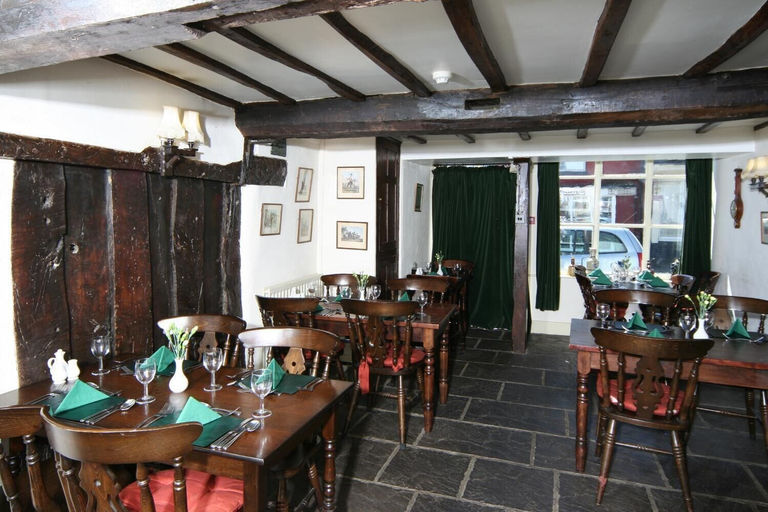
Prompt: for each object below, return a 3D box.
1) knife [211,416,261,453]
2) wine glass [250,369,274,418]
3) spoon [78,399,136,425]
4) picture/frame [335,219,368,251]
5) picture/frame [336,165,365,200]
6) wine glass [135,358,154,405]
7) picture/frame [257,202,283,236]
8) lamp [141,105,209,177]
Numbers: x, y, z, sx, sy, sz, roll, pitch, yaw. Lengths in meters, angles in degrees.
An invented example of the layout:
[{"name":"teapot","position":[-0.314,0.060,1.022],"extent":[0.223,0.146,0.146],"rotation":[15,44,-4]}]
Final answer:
[{"name":"knife","position":[-0.833,0.990,2.888],"extent":[0.089,0.029,0.285],"rotation":[9,11,14]},{"name":"wine glass","position":[-0.744,0.809,3.181],"extent":[0.122,0.269,0.328],"rotation":[-3,5,-14]},{"name":"spoon","position":[-1.627,0.916,3.051],"extent":[0.079,0.040,0.296],"rotation":[7,6,24]},{"name":"picture/frame","position":[-0.377,-0.253,6.260],"extent":[0.436,0.317,0.044],"rotation":[1,4,21]},{"name":"picture/frame","position":[-0.387,-0.885,6.229],"extent":[0.505,0.463,0.035],"rotation":[1,1,16]},{"name":"wine glass","position":[-1.517,0.766,3.294],"extent":[0.114,0.262,0.319],"rotation":[-5,5,-25]},{"name":"picture/frame","position":[-1.180,-0.379,5.327],"extent":[0.044,0.299,0.398],"rotation":[6,4,20]},{"name":"lamp","position":[-1.651,-0.919,4.209],"extent":[0.220,0.531,0.461],"rotation":[1,6,28]}]
